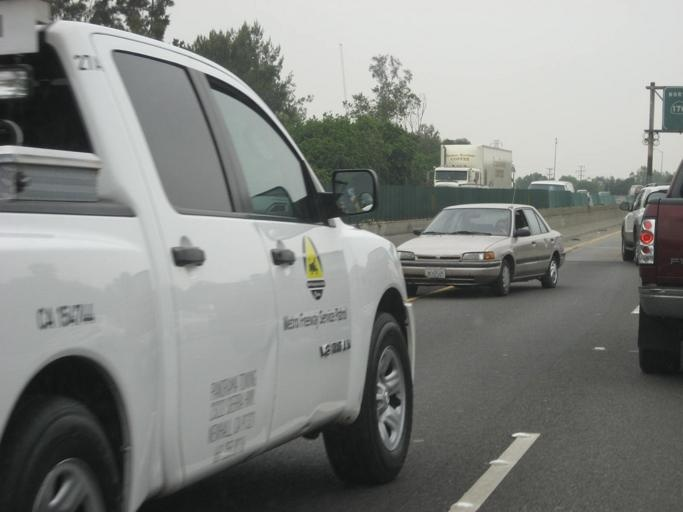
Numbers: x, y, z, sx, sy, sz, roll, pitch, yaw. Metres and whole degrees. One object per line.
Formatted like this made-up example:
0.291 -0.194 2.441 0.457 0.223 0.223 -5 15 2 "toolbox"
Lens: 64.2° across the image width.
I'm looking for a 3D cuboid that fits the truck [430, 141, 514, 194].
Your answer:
12.771 -7.661 52.877 4.694 6.212 9.579 4 7 38 "truck"
